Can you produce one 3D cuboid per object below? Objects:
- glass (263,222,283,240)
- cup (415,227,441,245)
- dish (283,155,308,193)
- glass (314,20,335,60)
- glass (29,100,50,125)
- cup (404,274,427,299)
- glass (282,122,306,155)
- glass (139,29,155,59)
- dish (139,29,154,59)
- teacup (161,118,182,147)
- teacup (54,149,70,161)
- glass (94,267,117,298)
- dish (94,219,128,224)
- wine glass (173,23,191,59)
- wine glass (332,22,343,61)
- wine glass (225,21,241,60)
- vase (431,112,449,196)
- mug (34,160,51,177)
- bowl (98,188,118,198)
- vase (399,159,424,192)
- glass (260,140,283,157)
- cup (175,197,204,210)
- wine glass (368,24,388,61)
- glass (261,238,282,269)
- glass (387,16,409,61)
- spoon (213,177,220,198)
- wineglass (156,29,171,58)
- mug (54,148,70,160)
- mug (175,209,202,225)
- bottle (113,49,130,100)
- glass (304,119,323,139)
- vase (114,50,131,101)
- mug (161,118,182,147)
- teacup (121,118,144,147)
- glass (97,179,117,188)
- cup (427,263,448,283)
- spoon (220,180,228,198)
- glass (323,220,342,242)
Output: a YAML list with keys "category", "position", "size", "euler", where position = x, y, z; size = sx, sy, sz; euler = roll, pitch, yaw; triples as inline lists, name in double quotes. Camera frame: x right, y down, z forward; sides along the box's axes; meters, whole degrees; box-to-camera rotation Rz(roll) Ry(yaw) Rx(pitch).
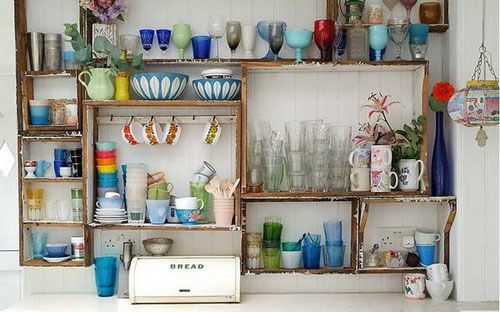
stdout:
- category: "glass"
  position: [0.160, 0.538, 3.949]
  size: [0.116, 0.126, 0.107]
  euler: [0, 0, -29]
- category: "cup"
  position: [1.280, 0.573, 3.940]
  size: [0.132, 0.108, 0.104]
  euler: [0, -2, 9]
- category: "dish"
  position: [0.325, 0.120, 3.841]
  size: [0.142, 0.252, 0.134]
  euler: [-2, 6, -4]
- category: "glass"
  position: [0.529, -0.812, 3.908]
  size: [0.171, 0.290, 0.167]
  euler: [-10, 14, -41]
- category: "glass"
  position: [-1.502, -0.302, 3.923]
  size: [0.150, 0.185, 0.155]
  euler: [2, 1, 23]
- category: "cup"
  position: [1.171, 0.917, 3.891]
  size: [0.146, 0.157, 0.196]
  euler: [-1, 3, 9]
- category: "glass"
  position: [0.319, -0.117, 3.841]
  size: [0.144, 0.222, 0.073]
  euler: [0, 1, 9]
- category: "glass"
  position: [-0.736, -0.798, 3.936]
  size: [0.096, 0.201, 0.097]
  euler: [-1, 1, -10]
- category: "dish"
  position: [-0.727, -0.834, 4.001]
  size: [0.119, 0.203, 0.119]
  euler: [2, 4, 9]
- category: "teacup"
  position: [-0.556, -0.162, 3.926]
  size: [0.068, 0.183, 0.120]
  euler: [13, 10, -9]
- category: "teacup"
  position: [-1.357, -0.009, 3.957]
  size: [0.096, 0.091, 0.064]
  euler: [1, -3, -1]
- category: "glass"
  position: [-1.068, 0.894, 3.955]
  size: [0.158, 0.185, 0.164]
  euler: [0, -6, 5]
- category: "dish"
  position: [-0.960, 0.462, 3.868]
  size: [0.191, 0.032, 0.054]
  euler: [-1, 2, -13]
- category: "wine glass"
  position: [-0.487, -0.805, 3.905]
  size: [0.109, 0.230, 0.055]
  euler: [0, 1, 15]
- category: "wine glass"
  position: [0.621, -0.795, 3.866]
  size: [0.059, 0.247, 0.080]
  euler: [0, 1, 31]
- category: "wine glass"
  position: [-0.119, -0.827, 3.923]
  size: [0.113, 0.285, 0.151]
  euler: [-1, 1, -2]
- category: "vase"
  position: [1.342, -0.011, 3.879]
  size: [0.118, 0.583, 0.080]
  euler: [0, 1, 19]
- category: "mug"
  position: [-1.497, 0.093, 3.974]
  size: [0.047, 0.113, 0.115]
  euler: [0, 2, 35]
- category: "bowl"
  position: [-1.028, 0.264, 3.913]
  size: [0.082, 0.045, 0.077]
  euler: [-2, -2, 0]
- category: "vase"
  position: [1.144, 0.136, 3.856]
  size: [0.138, 0.234, 0.226]
  euler: [-3, 3, -22]
- category: "glass"
  position: [0.152, -0.047, 3.818]
  size: [0.119, 0.093, 0.109]
  euler: [-2, -2, 3]
- category: "cup"
  position: [-0.421, 0.334, 3.832]
  size: [0.134, 0.069, 0.098]
  euler: [2, -2, -9]
- category: "wine glass"
  position: [0.901, -0.783, 3.845]
  size: [0.128, 0.238, 0.054]
  euler: [0, 1, 12]
- category: "glass"
  position: [0.151, 0.685, 3.886]
  size: [0.175, 0.240, 0.168]
  euler: [1, 0, 7]
- category: "glass"
  position: [1.039, -0.824, 3.878]
  size: [0.133, 0.332, 0.105]
  euler: [1, 7, -6]
- category: "spoon"
  position: [-0.230, 0.220, 3.862]
  size: [0.048, 0.142, 0.024]
  euler: [0, 1, 24]
- category: "wineglass"
  position: [-0.615, -0.808, 3.906]
  size: [0.125, 0.211, 0.129]
  euler: [0, -2, 2]
- category: "mug"
  position: [-1.352, -0.013, 3.952]
  size: [0.098, 0.075, 0.065]
  euler: [1, -3, -10]
- category: "mug"
  position: [-0.431, 0.419, 3.833]
  size: [0.122, 0.076, 0.120]
  euler: [7, -9, -44]
- category: "bottle"
  position: [-0.902, -0.564, 3.862]
  size: [0.117, 0.329, 0.101]
  euler: [-1, 11, -10]
- category: "glass"
  position: [0.458, -0.189, 3.920]
  size: [0.127, 0.140, 0.200]
  euler: [0, 2, 7]
- category: "vase"
  position: [-0.895, -0.569, 3.860]
  size: [0.114, 0.328, 0.098]
  euler: [-1, 11, -10]
- category: "mug"
  position: [-0.558, -0.157, 3.901]
  size: [0.069, 0.184, 0.120]
  euler: [13, 9, -14]
- category: "teacup"
  position: [-0.825, -0.144, 3.999]
  size: [0.157, 0.139, 0.209]
  euler: [6, 4, 8]
- category: "glass"
  position: [-1.021, 0.200, 3.934]
  size: [0.131, 0.059, 0.054]
  euler: [-1, 2, -14]
- category: "cup"
  position: [1.302, 0.813, 3.812]
  size: [0.106, 0.099, 0.123]
  euler: [2, -13, -2]
- category: "spoon"
  position: [-0.182, 0.231, 3.855]
  size: [0.034, 0.128, 0.018]
  euler: [0, 0, 7]
- category: "glass"
  position: [0.579, 0.533, 3.960]
  size: [0.125, 0.147, 0.134]
  euler: [1, -7, -4]
